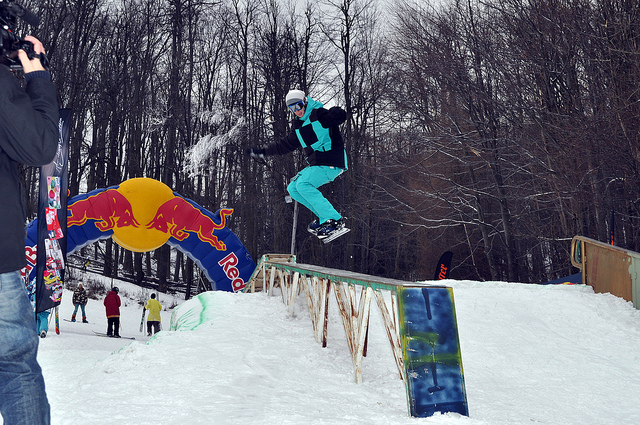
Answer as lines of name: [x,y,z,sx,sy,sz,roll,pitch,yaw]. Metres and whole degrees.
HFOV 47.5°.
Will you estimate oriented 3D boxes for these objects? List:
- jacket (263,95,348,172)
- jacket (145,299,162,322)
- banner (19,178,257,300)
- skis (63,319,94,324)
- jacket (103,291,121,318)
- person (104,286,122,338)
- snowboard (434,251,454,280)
jacket: [-0.350,-2.237,22.316,2.806,2.486,1.756,-10,8,27]
jacket: [-6.793,3.966,29.474,0.603,0.915,0.578,1,-4,-15]
banner: [-7.816,1.176,32.435,6.699,3.855,0.568,4,24,-7]
skis: [-10.347,4.610,30.877,0.849,0.050,0.094,13,-7,1]
jacket: [-8.491,3.726,29.599,0.583,1.048,0.478,0,-4,0]
person: [-8.438,4.052,29.591,0.634,1.972,1.340,1,-4,-17]
snowboard: [5.425,2.386,31.867,0.605,1.759,0.080,13,-36,9]
